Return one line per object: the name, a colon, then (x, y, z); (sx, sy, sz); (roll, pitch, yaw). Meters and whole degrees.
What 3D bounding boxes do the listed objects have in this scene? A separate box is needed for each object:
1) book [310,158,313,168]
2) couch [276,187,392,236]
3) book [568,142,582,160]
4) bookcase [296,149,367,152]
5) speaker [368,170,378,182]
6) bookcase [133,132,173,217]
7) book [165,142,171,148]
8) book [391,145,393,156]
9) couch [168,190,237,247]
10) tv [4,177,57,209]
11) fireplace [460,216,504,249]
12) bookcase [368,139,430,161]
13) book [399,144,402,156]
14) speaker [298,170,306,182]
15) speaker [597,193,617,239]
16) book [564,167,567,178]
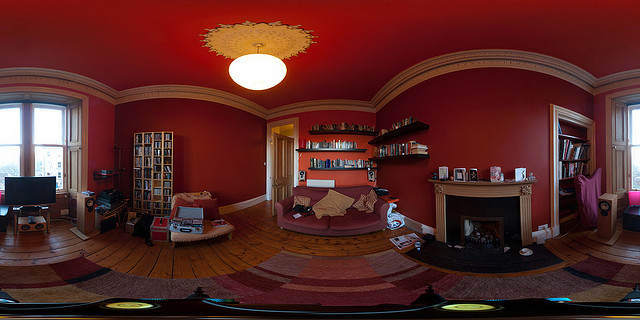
book: (-0.244, 0.062, 10.042); (0.057, 0.183, 0.215); (-7, 12, 10)
couch: (0.321, 1.243, 9.016); (2.676, 1.094, 0.810); (-1, -2, 7)
book: (6.257, -0.219, 8.898); (0.440, 0.337, 0.239); (14, 3, -39)
bookcase: (0.333, -0.270, 10.037); (1.919, 0.076, 0.486); (0, -1, -5)
speaker: (1.426, 0.409, 10.085); (0.356, 0.240, 0.091); (4, -1, -4)
bookcase: (-4.390, 0.340, 9.463); (1.211, 2.132, 0.285); (-1, -3, 14)
book: (-3.949, -0.397, 9.372); (0.146, 0.131, 0.033); (0, -3, -7)
book: (1.832, -0.264, 9.241); (0.023, 0.258, 0.068); (1, -3, -20)
couch: (-3.065, 1.206, 8.867); (1.555, 0.447, 1.751); (2, 33, -21)
tv: (-7.019, 0.757, 8.708); (1.054, 0.554, 0.067); (0, 1, -7)
fireplace: (3.751, 1.699, 8.575); (1.224, 0.794, 0.642); (-1, 1, 3)
bookcase: (2.032, -0.274, 9.191); (0.432, 0.480, 1.400); (1, -2, -36)
book: (2.007, -0.274, 9.020); (0.066, 0.252, 0.066); (-1, -3, 10)
speaker: (-0.511, 0.445, 10.170); (0.182, 0.317, 0.104); (-2, -3, 23)
speaker: (6.700, 1.280, 8.389); (0.482, 0.977, 0.254); (0, -3, -20)
book: (6.012, 0.288, 8.861); (0.102, 0.229, 0.019); (1, -3, -29)
